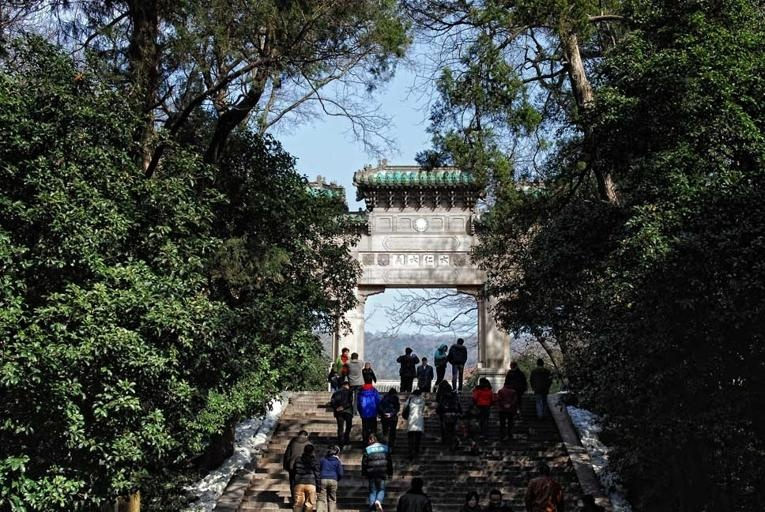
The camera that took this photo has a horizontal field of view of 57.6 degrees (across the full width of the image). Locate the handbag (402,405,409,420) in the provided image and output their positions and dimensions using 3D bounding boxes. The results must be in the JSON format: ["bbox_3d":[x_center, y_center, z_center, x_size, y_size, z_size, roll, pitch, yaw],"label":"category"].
[{"bbox_3d":[0.525,3.529,15.724,0.140,0.349,0.307,-4,13,-13],"label":"handbag"}]
